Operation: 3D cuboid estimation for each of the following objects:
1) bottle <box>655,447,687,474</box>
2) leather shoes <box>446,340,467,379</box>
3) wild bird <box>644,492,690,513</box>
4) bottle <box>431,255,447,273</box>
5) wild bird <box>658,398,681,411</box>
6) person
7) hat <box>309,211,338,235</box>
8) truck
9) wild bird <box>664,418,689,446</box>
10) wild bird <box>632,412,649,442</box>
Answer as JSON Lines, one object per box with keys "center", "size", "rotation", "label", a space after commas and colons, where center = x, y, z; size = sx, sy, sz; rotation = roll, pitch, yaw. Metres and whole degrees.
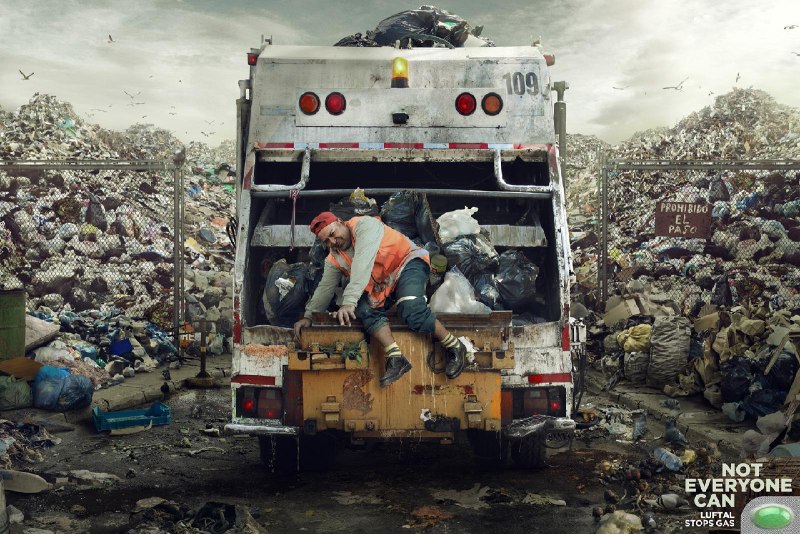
{"center": [2.617, 1.881, 7.881], "size": [0.321, 0.153, 0.288], "rotation": [1, 12, 4], "label": "bottle"}
{"center": [0.513, 0.829, 7.207], "size": [0.200, 0.336, 0.111], "rotation": [-1, 13, -3], "label": "leather shoes"}
{"center": [2.387, 2.090, 7.237], "size": [0.407, 0.117, 0.288], "rotation": [-1, 12, -6], "label": "wild bird"}
{"center": [0.384, -0.017, 7.873], "size": [0.169, 0.147, 0.167], "rotation": [3, 3, 32], "label": "bottle"}
{"center": [3.177, 1.632, 9.546], "size": [0.093, 0.141, 0.277], "rotation": [-3, 7, -37], "label": "wild bird"}
{"center": [-0.181, 0.360, 7.428], "size": [0.857, 1.210, 1.011], "rotation": [26, -52, -38], "label": "person"}
{"center": [-0.705, -0.361, 7.507], "size": [0.143, 0.258, 0.197], "rotation": [46, 13, -13], "label": "hat"}
{"center": [0.115, -0.217, 9.667], "size": [3.204, 3.552, 4.946], "rotation": [1, 0, 3], "label": "truck"}
{"center": [2.910, 1.758, 8.474], "size": [0.247, 0.223, 0.264], "rotation": [5, 13, 21], "label": "wild bird"}
{"center": [2.634, 1.776, 8.843], "size": [0.162, 0.251, 0.083], "rotation": [23, -34, 7], "label": "wild bird"}
